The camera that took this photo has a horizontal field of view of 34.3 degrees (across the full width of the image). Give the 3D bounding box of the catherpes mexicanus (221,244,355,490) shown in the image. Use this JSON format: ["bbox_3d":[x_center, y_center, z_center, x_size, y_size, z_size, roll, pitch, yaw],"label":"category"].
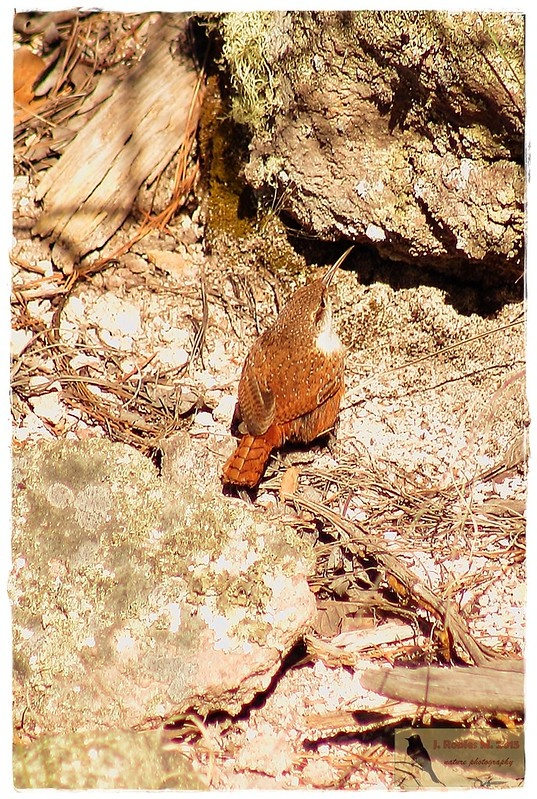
[{"bbox_3d":[0.052,-0.063,2.361,0.297,0.577,0.179,6,13,2],"label":"catherpes mexicanus"}]
